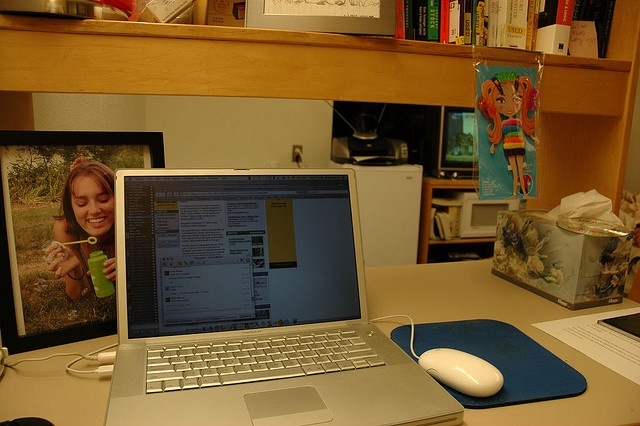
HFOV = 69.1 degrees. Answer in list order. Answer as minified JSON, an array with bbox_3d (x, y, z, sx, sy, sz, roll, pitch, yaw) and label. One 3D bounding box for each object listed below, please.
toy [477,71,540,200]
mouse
[{"bbox_3d":[0.490,-0.213,1.324,0.173,0.357,0.121,-1,14,-12],"label":"toy"},{"bbox_3d":[0.283,0.309,0.959,0.125,0.051,0.176,-15,18,-33],"label":"mouse"}]
